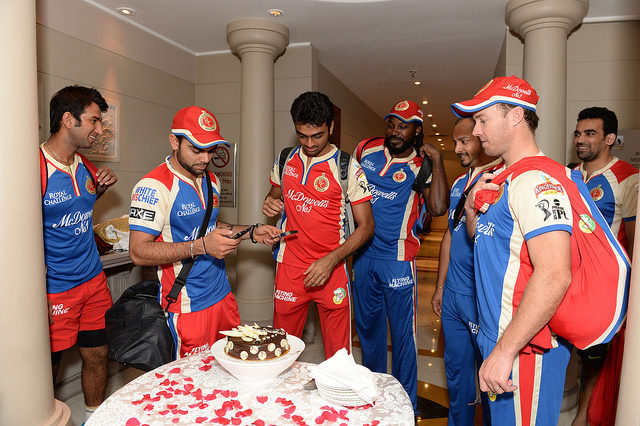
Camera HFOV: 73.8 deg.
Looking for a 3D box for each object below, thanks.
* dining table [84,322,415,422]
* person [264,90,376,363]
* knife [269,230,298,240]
[{"bbox_3d":[-0.310,0.848,2.267,1.581,0.372,0.567,2,5,11],"label":"dining table"},{"bbox_3d":[-0.099,0.421,3.375,0.880,2.625,0.788,9,19,24],"label":"person"},{"bbox_3d":[-0.238,0.152,3.057,0.186,0.068,0.224,2,5,17],"label":"knife"}]
